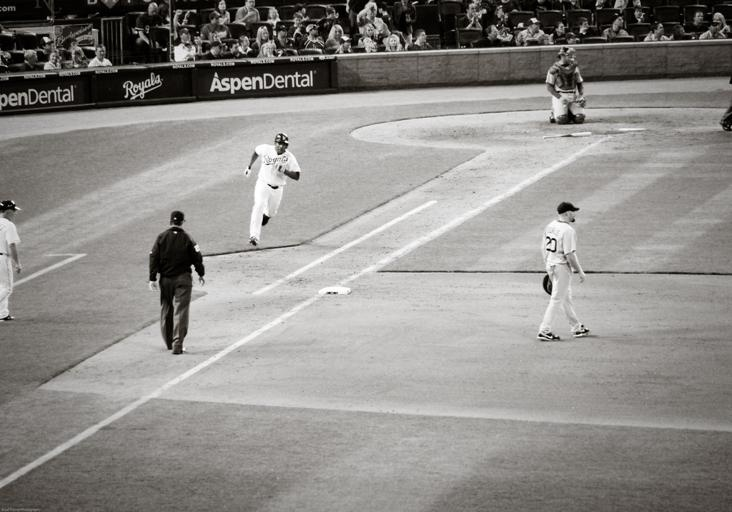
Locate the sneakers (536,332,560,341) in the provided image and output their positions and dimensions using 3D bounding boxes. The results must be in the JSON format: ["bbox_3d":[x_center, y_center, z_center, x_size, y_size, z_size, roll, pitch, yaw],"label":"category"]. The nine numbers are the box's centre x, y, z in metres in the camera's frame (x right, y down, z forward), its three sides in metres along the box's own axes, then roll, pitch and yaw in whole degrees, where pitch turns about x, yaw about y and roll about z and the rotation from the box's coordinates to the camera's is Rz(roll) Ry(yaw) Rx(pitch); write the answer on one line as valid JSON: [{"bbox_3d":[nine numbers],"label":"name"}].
[{"bbox_3d":[3.533,1.572,20.593,0.458,0.165,0.149,-1,9,-5],"label":"sneakers"}]

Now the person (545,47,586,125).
[{"bbox_3d":[6.558,-5.565,34.804,1.148,2.583,1.153,1,18,11],"label":"person"}]

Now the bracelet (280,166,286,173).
[{"bbox_3d":[-2.049,-2.169,26.478,0.126,0.083,0.151,-7,-1,-5],"label":"bracelet"}]

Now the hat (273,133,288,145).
[{"bbox_3d":[-2.050,-2.893,26.288,0.284,0.293,0.452,-5,17,-10],"label":"hat"}]

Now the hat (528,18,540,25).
[{"bbox_3d":[6.863,-9.585,43.067,0.408,0.177,0.574,-4,15,-6],"label":"hat"}]

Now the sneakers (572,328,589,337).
[{"bbox_3d":[4.206,1.499,20.778,0.360,0.136,0.144,-12,15,-26],"label":"sneakers"}]
